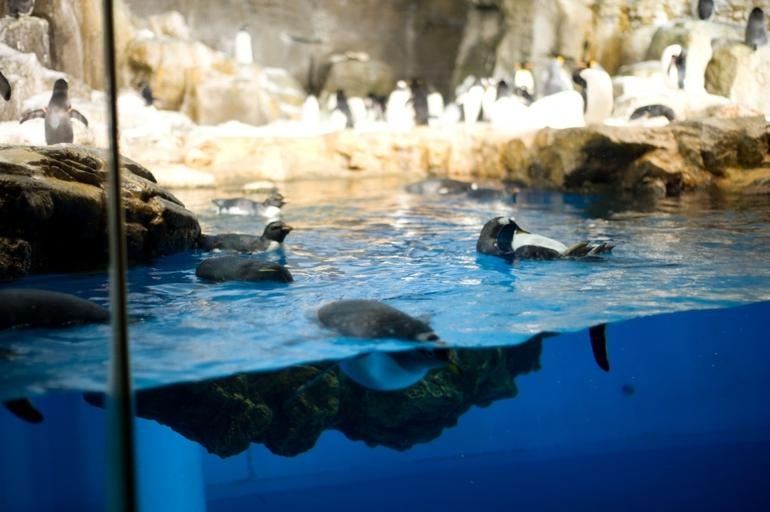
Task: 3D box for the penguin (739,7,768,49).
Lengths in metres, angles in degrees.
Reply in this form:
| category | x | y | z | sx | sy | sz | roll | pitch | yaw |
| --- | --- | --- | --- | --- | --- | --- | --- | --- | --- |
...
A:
| category | x | y | z | sx | sy | sz | roll | pitch | yaw |
| --- | --- | --- | --- | --- | --- | --- | --- | --- | --- |
| penguin | 8.952 | -5.461 | 21.046 | 0.501 | 0.999 | 0.395 | 1 | 4 | 19 |

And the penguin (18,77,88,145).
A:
| category | x | y | z | sx | sy | sz | roll | pitch | yaw |
| --- | --- | --- | --- | --- | --- | --- | --- | --- | --- |
| penguin | -6.601 | -2.918 | 17.772 | 0.791 | 1.348 | 1.020 | -2 | 4 | -23 |
